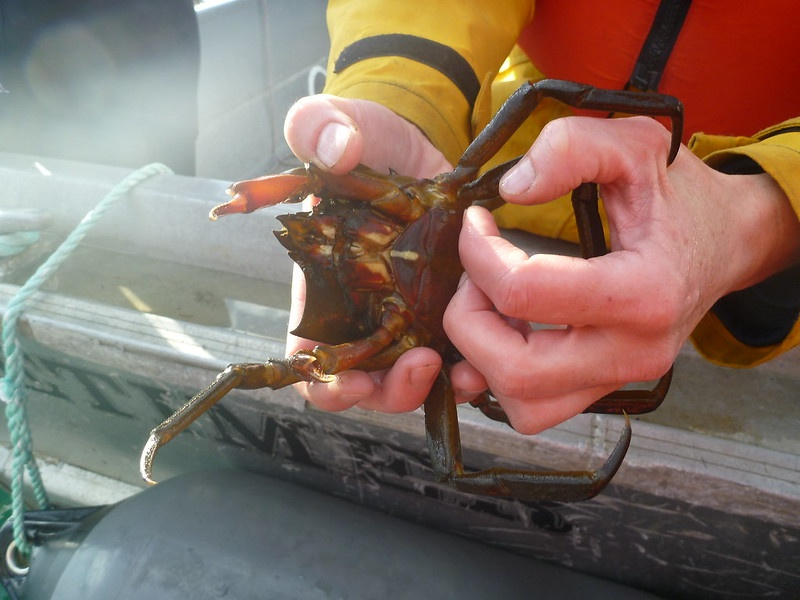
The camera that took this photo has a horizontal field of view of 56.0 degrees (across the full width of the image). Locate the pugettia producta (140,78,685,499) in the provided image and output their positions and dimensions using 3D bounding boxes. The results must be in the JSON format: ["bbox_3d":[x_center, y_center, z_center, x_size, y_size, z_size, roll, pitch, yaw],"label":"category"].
[{"bbox_3d":[0.091,-0.032,1.896,1.004,0.812,0.724,8,50,9],"label":"pugettia producta"}]
